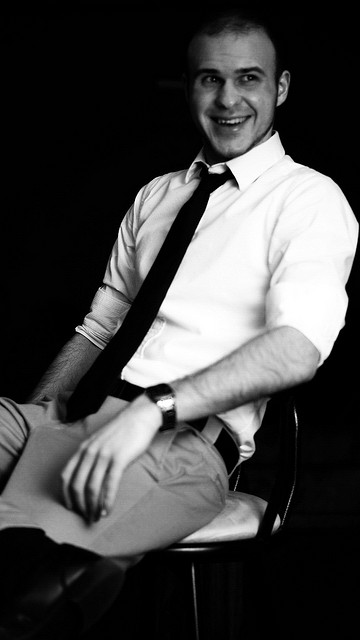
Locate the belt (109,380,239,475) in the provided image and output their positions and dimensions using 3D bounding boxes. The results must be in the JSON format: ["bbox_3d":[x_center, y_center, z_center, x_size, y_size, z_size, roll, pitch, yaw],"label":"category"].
[{"bbox_3d":[0.045,0.195,1.086,0.239,0.181,0.083,-9,46,43],"label":"belt"}]
